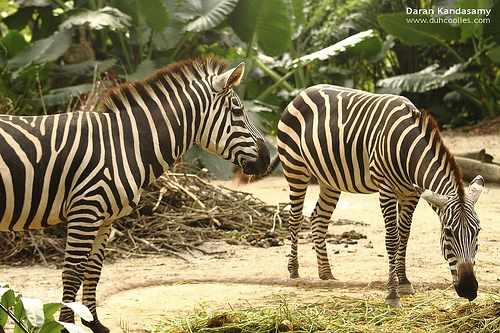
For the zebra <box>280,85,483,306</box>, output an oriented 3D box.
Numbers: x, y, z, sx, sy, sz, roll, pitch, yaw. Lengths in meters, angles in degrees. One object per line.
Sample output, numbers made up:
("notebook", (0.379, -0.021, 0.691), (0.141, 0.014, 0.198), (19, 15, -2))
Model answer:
("zebra", (1.700, 0.383, 8.968), (1.050, 2.612, 3.755), (1, 4, -28))
